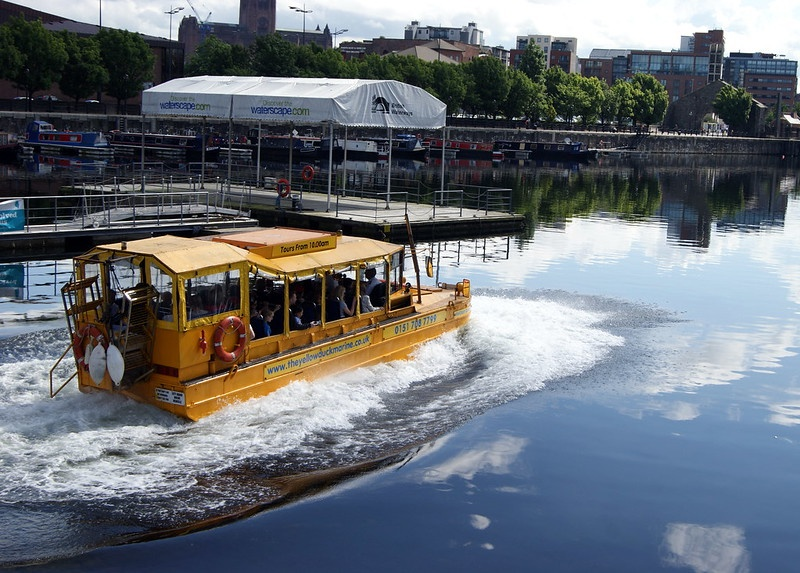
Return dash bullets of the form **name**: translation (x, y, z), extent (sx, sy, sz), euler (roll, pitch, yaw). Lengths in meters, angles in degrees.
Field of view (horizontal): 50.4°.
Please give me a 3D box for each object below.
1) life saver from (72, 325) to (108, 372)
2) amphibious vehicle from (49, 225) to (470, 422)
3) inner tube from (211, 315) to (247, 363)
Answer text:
- **life saver**: translation (-6.613, 1.348, 18.346), extent (0.802, 0.969, 0.238), euler (-25, -22, 39)
- **amphibious vehicle**: translation (-3.172, 0.697, 20.782), extent (3.868, 3.201, 9.084), euler (13, 18, 39)
- **inner tube**: translation (-3.684, 1.174, 18.493), extent (0.269, 1.025, 0.803), euler (9, 13, 42)
